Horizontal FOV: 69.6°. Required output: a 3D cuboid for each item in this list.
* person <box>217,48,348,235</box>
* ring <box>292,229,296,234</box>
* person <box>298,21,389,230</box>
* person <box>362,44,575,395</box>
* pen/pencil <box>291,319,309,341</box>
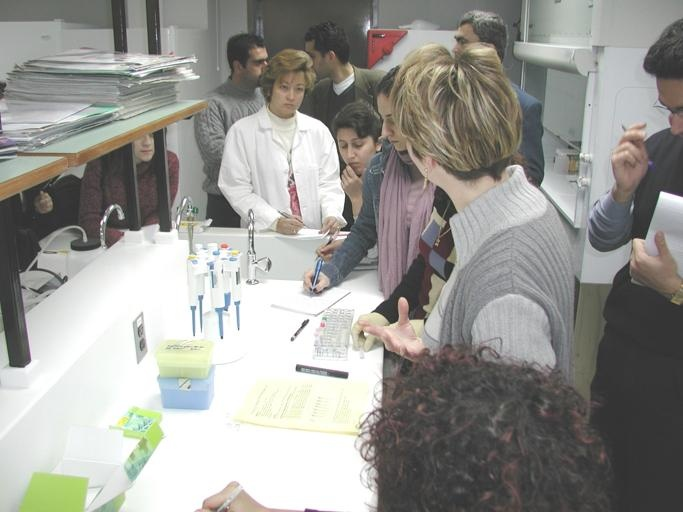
[{"bbox_3d":[-0.342,-0.488,3.012,0.765,1.455,0.746,-2,22,-15],"label":"person"},{"bbox_3d":[-0.256,-0.133,2.606,0.014,0.022,0.009,-2,-10,-15],"label":"ring"},{"bbox_3d":[0.049,-0.871,3.969,0.628,1.749,0.501,-5,21,-2],"label":"person"},{"bbox_3d":[0.415,-0.246,1.731,0.648,1.389,0.765,3,19,22],"label":"person"},{"bbox_3d":[-0.156,0.272,1.819,0.021,0.021,0.160,-20,17,17],"label":"pen/pencil"}]
